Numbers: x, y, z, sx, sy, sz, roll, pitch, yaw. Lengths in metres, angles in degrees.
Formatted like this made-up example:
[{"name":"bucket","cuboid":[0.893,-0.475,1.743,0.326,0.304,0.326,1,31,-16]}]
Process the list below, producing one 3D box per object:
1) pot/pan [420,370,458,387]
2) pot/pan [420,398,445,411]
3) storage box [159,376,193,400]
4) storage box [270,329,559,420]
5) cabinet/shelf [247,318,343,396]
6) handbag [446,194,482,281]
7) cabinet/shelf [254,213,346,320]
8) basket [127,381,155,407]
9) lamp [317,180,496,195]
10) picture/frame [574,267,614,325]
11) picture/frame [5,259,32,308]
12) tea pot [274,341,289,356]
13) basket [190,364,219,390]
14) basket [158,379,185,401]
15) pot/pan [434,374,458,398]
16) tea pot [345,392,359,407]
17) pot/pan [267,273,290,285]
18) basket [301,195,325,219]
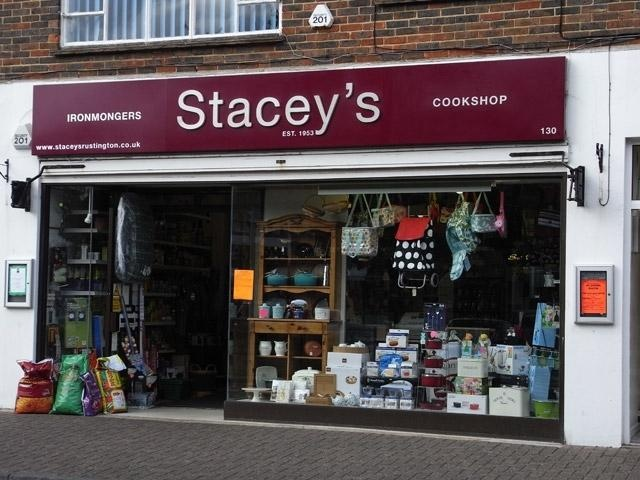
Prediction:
[{"name":"pot/pan","cuboid":[1.584,1.864,11.805,0.350,0.150,0.211,1,-3,-3]},{"name":"pot/pan","cuboid":[1.514,2.190,11.697,0.341,0.119,0.103,0,6,4]},{"name":"storage box","cuboid":[-2.339,2.334,13.997,0.328,0.223,0.340,0,-1,15]},{"name":"storage box","cuboid":[1.428,1.829,11.790,3.635,1.254,1.158,-3,1,24]},{"name":"cabinet/shelf","cuboid":[-0.405,1.602,12.500,1.114,1.129,0.433,-2,12,7]},{"name":"handbag","cuboid":[1.917,-0.044,11.783,0.398,1.118,0.196,0,5,8]},{"name":"cabinet/shelf","cuboid":[-0.313,0.429,12.416,1.118,1.551,0.382,0,-13,4]},{"name":"basket","cuboid":[-2.704,2.295,13.258,0.356,0.371,0.349,0,-5,8]},{"name":"lamp","cuboid":[1.146,-0.719,11.957,2.381,0.193,0.120,1,5,13]},{"name":"picture/frame","cuboid":[3.455,0.684,10.994,0.430,0.732,0.108,1,5,14]},{"name":"picture/frame","cuboid":[-4.458,0.626,12.879,0.442,0.685,0.156,0,5,11]},{"name":"tea pot","cuboid":[-0.554,1.548,12.537,0.200,0.182,0.161,1,-4,7]},{"name":"basket","cuboid":[-1.948,2.267,14.567,0.359,0.375,0.372,1,-6,-9]},{"name":"basket","cuboid":[-2.386,2.369,13.938,0.370,0.300,0.211,1,6,15]},{"name":"pot/pan","cuboid":[1.700,1.983,11.871,0.278,0.367,0.269,-1,-9,10]},{"name":"tea pot","cuboid":[0.432,2.183,12.010,0.126,0.150,0.173,-4,3,9]},{"name":"pot/pan","cuboid":[-0.613,0.556,12.531,0.199,0.132,0.204,0,-2,35]},{"name":"basket","cuboid":[-0.087,-0.475,12.329,0.274,0.296,0.302,5,-6,-1]}]
